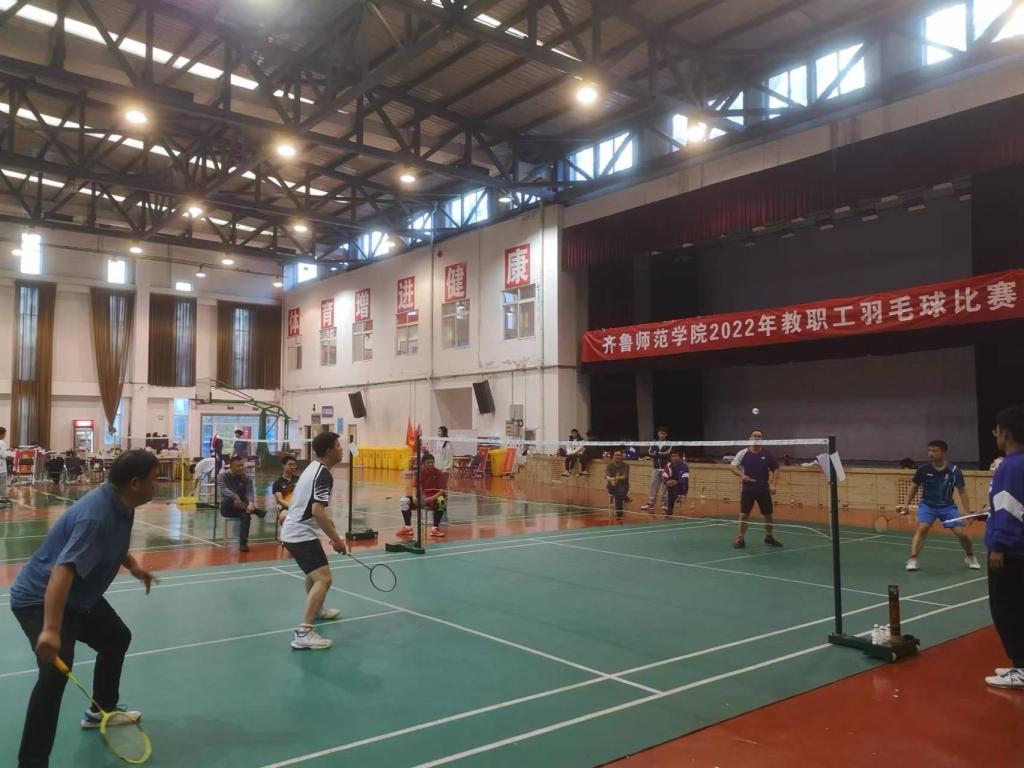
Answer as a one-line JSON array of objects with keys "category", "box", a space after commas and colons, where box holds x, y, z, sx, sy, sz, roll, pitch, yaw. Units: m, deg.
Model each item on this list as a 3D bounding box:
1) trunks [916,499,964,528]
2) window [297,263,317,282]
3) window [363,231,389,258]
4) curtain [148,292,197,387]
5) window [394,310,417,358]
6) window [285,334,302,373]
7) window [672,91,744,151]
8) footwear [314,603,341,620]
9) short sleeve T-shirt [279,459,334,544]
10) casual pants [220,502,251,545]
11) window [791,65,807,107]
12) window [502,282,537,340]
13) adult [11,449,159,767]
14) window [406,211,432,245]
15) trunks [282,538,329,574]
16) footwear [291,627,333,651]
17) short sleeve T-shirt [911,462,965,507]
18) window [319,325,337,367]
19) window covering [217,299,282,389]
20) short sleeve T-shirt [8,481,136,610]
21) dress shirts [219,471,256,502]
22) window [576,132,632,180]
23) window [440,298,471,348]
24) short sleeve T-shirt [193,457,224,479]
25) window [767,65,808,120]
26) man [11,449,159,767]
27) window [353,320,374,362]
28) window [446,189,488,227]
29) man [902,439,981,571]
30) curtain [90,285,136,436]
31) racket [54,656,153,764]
[{"category": "trunks", "box": [6.224, 1.923, 12.302, 0.469, 0.361, 0.629, 2, 4, 32]}, {"category": "window", "box": [-9.512, -5.221, 38.882, 0.382, 0.931, 1.668, -3, 4, -37]}, {"category": "window", "box": [-5.538, -5.778, 34.395, 0.140, 1.438, 1.140, -5, 6, -36]}, {"category": "curtain", "box": [-14.870, -1.817, 36.608, 1.974, 4.455, 0.283, 0, 32, -24]}, {"category": "window", "box": [-4.096, -1.967, 32.491, 0.103, 1.697, 1.462, 6, -14, -32]}, {"category": "window", "box": [-10.251, -1.527, 39.371, 0.216, 1.603, 1.506, -3, 4, -35]}, {"category": "window", "box": [5.047, -6.739, 21.354, 0.222, 1.050, 1.622, 6, -9, -29]}, {"category": "footwear", "box": [-2.263, 2.801, 10.357, 0.338, 0.269, 0.130, -2, 0, -12]}, {"category": "short sleeve T-shirt", "box": [-2.339, 1.333, 9.527, 0.576, 0.925, 0.340, 0, 3, 3]}, {"category": "casual pants", "box": [-4.672, 2.318, 14.048, 0.510, 0.728, 0.504, -1, 6, -28]}, {"category": "window", "box": [7.099, -7.439, 20.864, 0.079, 0.972, 0.463, -3, 5, -42]}, {"category": "window", "box": [0.274, -2.431, 27.636, 0.081, 1.806, 1.694, 1, -5, -34]}, {"category": "adult", "box": [-4.440, 2.382, 8.765, 1.261, 3.192, 1.507, 4, 18, -23]}, {"category": "window", "box": [-3.492, -5.996, 31.888, 0.908, 1.285, 2.078, -1, 3, -8]}, {"category": "trunks", "box": [-2.335, 1.923, 9.612, 0.348, 0.439, 0.572, -26, 8, -33]}, {"category": "footwear", "box": [-2.248, 2.840, 9.425, 0.472, 0.274, 0.218, 2, -2, -4]}, {"category": "short sleeve T-shirt", "box": [6.305, 1.461, 12.444, 0.880, 0.880, 0.536, 1, 0, 29]}, {"category": "window", "box": [-8.131, -1.720, 37.080, 0.074, 1.608, 1.542, 3, 5, -35]}, {"category": "window covering", "box": [-12.306, -1.899, 38.808, 3.749, 5.718, 0.548, 1, -1, -38]}, {"category": "short sleeve T-shirt", "box": [-3.735, 1.398, 7.181, 0.883, 1.050, 0.510, -2, 4, -28]}, {"category": "dress shirts", "box": [-4.779, 1.837, 14.590, 0.489, 0.638, 0.516, 8, -16, -41]}, {"category": "window", "box": [2.777, -6.808, 24.862, 0.109, 0.932, 1.549, -1, -2, -34]}, {"category": "window", "box": [-2.012, -2.216, 30.324, 0.087, 1.884, 1.682, 0, -1, -33]}, {"category": "short sleeve T-shirt", "box": [-6.410, 1.767, 17.581, 0.680, 0.447, 1.125, 1, -6, -21]}, {"category": "window", "box": [6.879, -7.436, 21.015, 1.076, 1.359, 0.110, 2, -8, 15]}, {"category": "man", "box": [-4.440, 2.382, 8.765, 1.261, 3.192, 1.507, 4, 18, -23]}, {"category": "window", "box": [-6.158, -1.824, 34.882, 0.109, 1.741, 1.561, -1, -3, -31]}, {"category": "window", "box": [-1.551, -6.321, 29.899, 0.135, 0.898, 1.393, 3, -8, -34]}, {"category": "man", "box": [6.238, 1.753, 12.398, 0.993, 2.023, 0.737, -8, 17, 7]}, {"category": "curtain", "box": [-16.562, -1.064, 34.856, 1.512, 5.986, 0.936, -2, 4, -29]}, {"category": "racket", "box": [-3.785, 3.051, 7.753, 1.451, 0.409, 0.223, 42, 16, 18]}]
